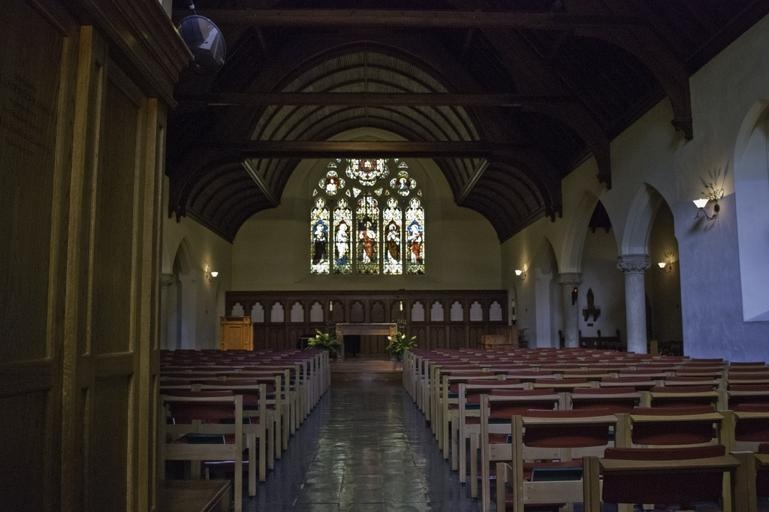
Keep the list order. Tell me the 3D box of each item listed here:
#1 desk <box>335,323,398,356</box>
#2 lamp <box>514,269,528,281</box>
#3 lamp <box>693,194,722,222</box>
[{"bbox_3d":[-0.751,2.874,24.314,1.953,1.123,2.990,-2,-4,-5],"label":"desk"},{"bbox_3d":[4.957,0.673,24.959,0.400,0.613,0.232,6,-29,13],"label":"lamp"},{"bbox_3d":[5.756,-0.844,12.264,0.256,0.454,0.651,-2,-4,0],"label":"lamp"}]
